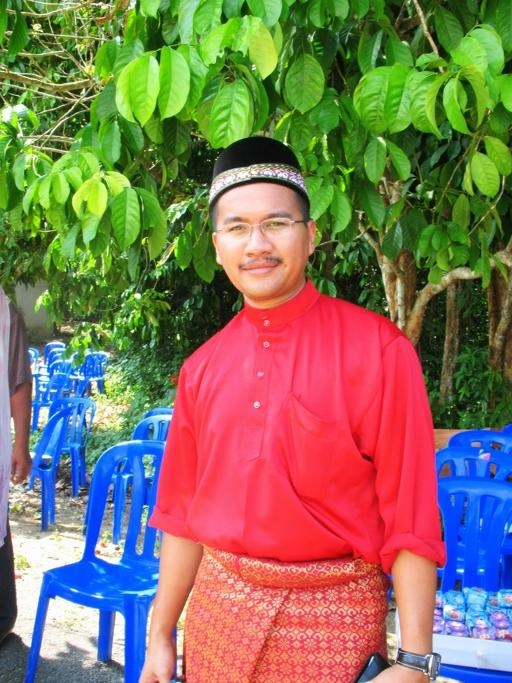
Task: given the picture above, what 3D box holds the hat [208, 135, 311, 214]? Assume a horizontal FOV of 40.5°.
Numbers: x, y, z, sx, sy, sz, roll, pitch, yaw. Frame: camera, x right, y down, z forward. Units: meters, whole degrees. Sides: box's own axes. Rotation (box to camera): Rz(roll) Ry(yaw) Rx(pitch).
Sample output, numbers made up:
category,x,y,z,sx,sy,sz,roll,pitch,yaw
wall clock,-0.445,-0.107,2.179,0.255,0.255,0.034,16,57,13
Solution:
category,x,y,z,sx,sy,sz,roll,pitch,yaw
hat,0.006,-0.387,1.487,0.147,0.098,0.133,-12,14,-31
